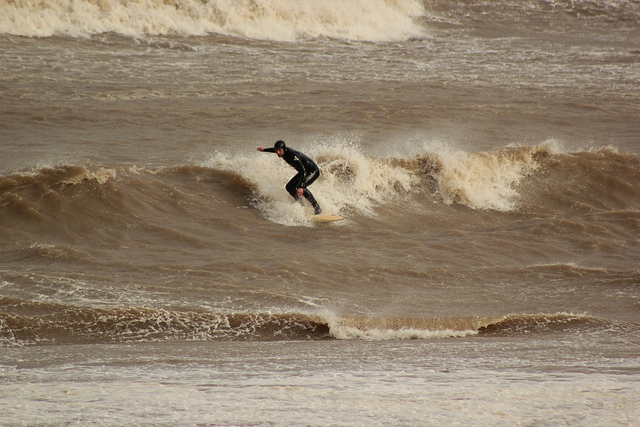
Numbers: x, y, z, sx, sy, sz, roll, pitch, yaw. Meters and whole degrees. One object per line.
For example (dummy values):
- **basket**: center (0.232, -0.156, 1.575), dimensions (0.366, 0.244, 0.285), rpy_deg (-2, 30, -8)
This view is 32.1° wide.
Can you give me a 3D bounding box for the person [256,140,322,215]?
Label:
- **person**: center (-0.525, -0.819, 24.494), dimensions (1.100, 1.714, 0.630), rpy_deg (-1, 29, -2)
